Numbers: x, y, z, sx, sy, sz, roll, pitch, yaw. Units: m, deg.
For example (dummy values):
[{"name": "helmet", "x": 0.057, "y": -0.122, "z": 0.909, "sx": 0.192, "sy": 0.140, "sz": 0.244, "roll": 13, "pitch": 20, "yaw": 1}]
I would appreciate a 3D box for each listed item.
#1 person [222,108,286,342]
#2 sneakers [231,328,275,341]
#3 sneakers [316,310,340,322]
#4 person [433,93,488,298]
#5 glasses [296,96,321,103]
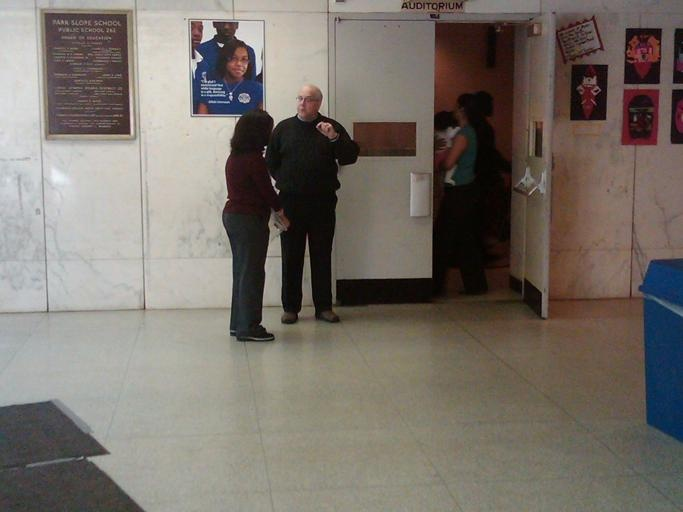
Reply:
[{"name": "person", "x": -0.737, "y": -0.245, "z": 5.006, "sx": 0.512, "sy": 1.935, "sz": 0.337, "roll": -3, "pitch": 11, "yaw": -11}, {"name": "sneakers", "x": -0.761, "y": 0.637, "z": 5.106, "sx": 0.364, "sy": 0.167, "sz": 0.128, "roll": -2, "pitch": 9, "yaw": -8}, {"name": "sneakers", "x": -0.130, "y": 0.568, "z": 5.645, "sx": 0.092, "sy": 0.102, "sz": 0.246, "roll": -4, "pitch": 3, "yaw": -41}, {"name": "person", "x": 1.332, "y": -0.504, "z": 6.578, "sx": 0.585, "sy": 1.840, "sz": 0.386, "roll": 0, "pitch": 11, "yaw": 6}, {"name": "glasses", "x": -0.285, "y": -1.434, "z": 5.386, "sx": 0.205, "sy": 0.066, "sz": 0.114, "roll": -3, "pitch": 13, "yaw": -8}]
